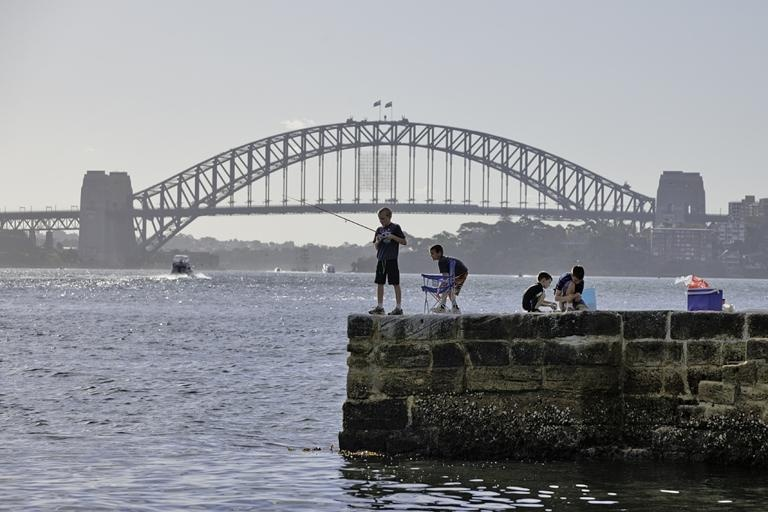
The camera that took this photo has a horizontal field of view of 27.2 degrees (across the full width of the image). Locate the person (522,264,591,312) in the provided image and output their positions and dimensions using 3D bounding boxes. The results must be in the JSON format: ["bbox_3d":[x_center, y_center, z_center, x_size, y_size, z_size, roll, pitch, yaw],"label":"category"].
[{"bbox_3d":[3.729,0.749,33.781,0.938,0.908,1.657,6,-8,-33],"label":"person"}]

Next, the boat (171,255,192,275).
[{"bbox_3d":[-19.994,1.086,157.527,2.023,1.552,2.848,0,-9,-4],"label":"boat"}]

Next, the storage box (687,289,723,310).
[{"bbox_3d":[6.581,0.929,32.553,0.601,0.318,0.552,-1,-1,12],"label":"storage box"}]
